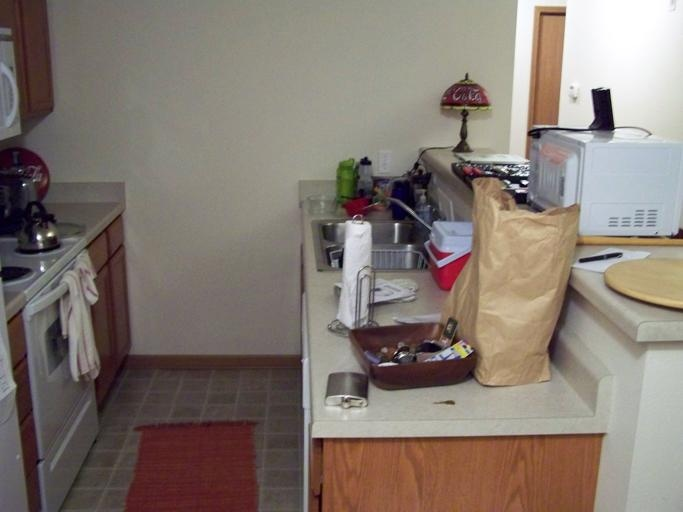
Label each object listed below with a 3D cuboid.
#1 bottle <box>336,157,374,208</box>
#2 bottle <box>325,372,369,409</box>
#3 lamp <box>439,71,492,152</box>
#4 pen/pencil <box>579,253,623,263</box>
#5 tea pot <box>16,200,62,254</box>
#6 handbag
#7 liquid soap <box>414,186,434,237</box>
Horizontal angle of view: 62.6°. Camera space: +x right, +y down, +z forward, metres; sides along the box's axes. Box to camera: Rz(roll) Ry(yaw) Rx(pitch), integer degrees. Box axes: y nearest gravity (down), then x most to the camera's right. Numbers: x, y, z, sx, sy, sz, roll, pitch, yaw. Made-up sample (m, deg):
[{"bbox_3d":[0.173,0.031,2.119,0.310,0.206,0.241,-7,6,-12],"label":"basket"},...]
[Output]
[{"bbox_3d":[0.078,-0.468,3.404,0.228,0.261,0.228,-3,16,0],"label":"bottle"},{"bbox_3d":[0.016,0.346,1.491,0.110,0.054,0.110,-3,16,1],"label":"bottle"},{"bbox_3d":[0.742,-0.861,3.370,0.285,0.450,0.304,1,17,12],"label":"lamp"},{"bbox_3d":[0.763,0.000,1.648,0.094,0.011,0.014,-8,38,-2],"label":"pen/pencil"},{"bbox_3d":[-1.398,-0.147,2.575,0.163,0.192,0.188,25,19,31],"label":"tea pot"},{"bbox_3d":[0.469,0.066,1.570,0.353,0.548,0.229,-1,17,7],"label":"handbag"},{"bbox_3d":[0.437,-0.232,2.963,0.088,0.265,0.085,-6,15,-12],"label":"liquid soap"}]
